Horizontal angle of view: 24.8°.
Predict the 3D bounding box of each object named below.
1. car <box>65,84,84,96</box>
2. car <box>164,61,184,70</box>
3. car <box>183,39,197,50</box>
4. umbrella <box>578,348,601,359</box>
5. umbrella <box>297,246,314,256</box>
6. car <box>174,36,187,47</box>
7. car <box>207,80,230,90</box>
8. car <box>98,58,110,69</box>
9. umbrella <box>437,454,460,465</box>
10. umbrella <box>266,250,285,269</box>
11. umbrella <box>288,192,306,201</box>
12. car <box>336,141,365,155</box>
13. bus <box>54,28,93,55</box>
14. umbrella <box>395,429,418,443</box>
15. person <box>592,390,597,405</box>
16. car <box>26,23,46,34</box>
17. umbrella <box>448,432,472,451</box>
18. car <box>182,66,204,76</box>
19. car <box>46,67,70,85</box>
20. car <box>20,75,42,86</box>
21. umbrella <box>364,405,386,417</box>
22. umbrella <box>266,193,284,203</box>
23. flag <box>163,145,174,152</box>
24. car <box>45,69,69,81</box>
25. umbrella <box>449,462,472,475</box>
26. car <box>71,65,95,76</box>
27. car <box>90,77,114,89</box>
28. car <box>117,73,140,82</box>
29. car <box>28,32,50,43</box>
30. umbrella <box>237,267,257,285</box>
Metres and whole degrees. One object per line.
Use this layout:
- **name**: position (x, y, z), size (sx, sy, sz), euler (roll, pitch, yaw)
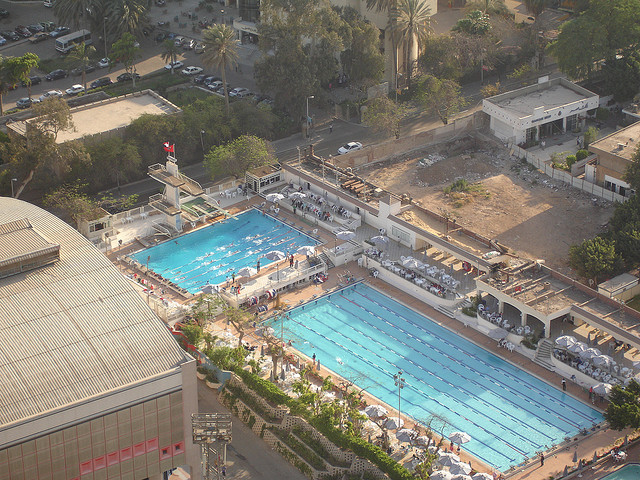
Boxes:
- **car**: position (-39.077, -24.380, 235.088), size (2.693, 1.323, 1.434), euler (-20, 44, -27)
- **car**: position (-24.163, -29.460, 245.410), size (3.242, 1.042, 1.321), euler (-18, 33, -30)
- **car**: position (-22.369, -34.067, 253.371), size (1.381, 1.004, 2.312), euler (8, 48, 20)
- **umbrella**: position (33.524, 14.578, 181.276), size (2.374, 1.319, 1.427), euler (4, 39, 15)
- **umbrella**: position (-1.738, 1.698, 198.814), size (2.118, 0.893, 1.494), euler (-5, 37, 3)
- **car**: position (-24.198, -34.665, 253.270), size (1.537, 1.357, 2.847), euler (12, 40, 10)
- **car**: position (-16.501, -25.316, 237.437), size (1.257, 0.742, 2.487), euler (30, 48, 33)
- **car**: position (-35.928, -30.075, 245.768), size (1.096, 1.028, 2.023), euler (39, 52, 24)
- **umbrella**: position (15.082, 26.070, 170.649), size (2.329, 0.863, 1.279), euler (2, 38, 12)
- **umbrella**: position (-5.968, 2.493, 198.339), size (1.574, 1.583, 1.559), euler (-28, 64, -19)
- **umbrella**: position (-3.189, -6.153, 209.824), size (2.418, 1.382, 1.432), euler (5, 39, 16)
- **car**: position (4.921, -13.672, 221.253), size (3.733, 1.234, 1.760), euler (-16, 38, -18)
- **bus**: position (-41.871, -34.159, 250.638), size (3.111, 3.087, 7.140), euler (18, 44, 30)
- **umbrella**: position (10.334, 23.591, 173.154), size (2.308, 1.383, 1.498), euler (-18, 38, -13)
- **person**: position (33.792, 19.423, 179.768), size (0.585, 1.278, 1.151), euler (-2, 37, 8)
- **car**: position (-49.559, -37.024, 255.678), size (3.463, 1.166, 1.469), euler (27, 48, 26)
- **umbrella**: position (16.683, 24.236, 173.789), size (2.452, 2.840, 2.169), euler (-4, 37, 5)
- **car**: position (-20.990, -28.139, 242.456), size (3.359, 1.386, 1.633), euler (-30, 43, -27)
- **car**: position (-42.864, -27.061, 240.945), size (3.511, 1.583, 2.025), euler (-13, 46, -16)
- **car**: position (-46.472, -25.987, 238.804), size (2.677, 1.232, 1.559), euler (-7, 43, -14)
- **umbrella**: position (6.689, 20.876, 175.361), size (2.434, 0.764, 1.302), euler (0, 38, 10)
- **umbrella**: position (-6.327, -5.916, 211.074), size (2.266, 1.655, 1.167), euler (-2, 37, 8)
- **flag**: position (-20.760, -12.585, 203.702), size (1.239, 0.536, 1.268), euler (6, 16, 27)
- **car**: position (-42.814, -27.386, 240.384), size (3.518, 1.178, 1.572), euler (-15, 47, -21)
- **umbrella**: position (16.343, 27.155, 169.833), size (2.298, 1.219, 1.607), euler (-8, 37, 0)
- **car**: position (-39.030, -28.314, 242.907), size (3.501, 1.120, 1.453), euler (-17, 45, -16)
- **car**: position (-35.362, -25.833, 238.671), size (3.348, 1.598, 1.728), euler (-15, 36, -22)
- **car**: position (-31.467, -26.801, 241.347), size (3.361, 1.135, 1.542), euler (-23, 52, -20)
- **car**: position (-48.401, -35.247, 253.502), size (1.523, 1.163, 3.466), euler (43, 51, 21)
- **umbrella**: position (-9.467, 4.975, 196.648), size (2.150, 2.082, 2.267), euler (2, 49, -4)
